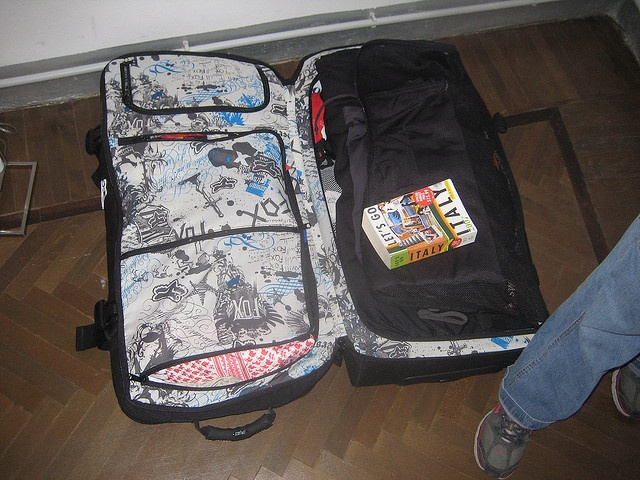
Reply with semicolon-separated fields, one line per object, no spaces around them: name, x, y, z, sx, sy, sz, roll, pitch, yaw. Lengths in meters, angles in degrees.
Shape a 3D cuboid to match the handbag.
handbag;-0.042;-0.072;1.984;1.566;0.982;1.016;-10;40;-8
